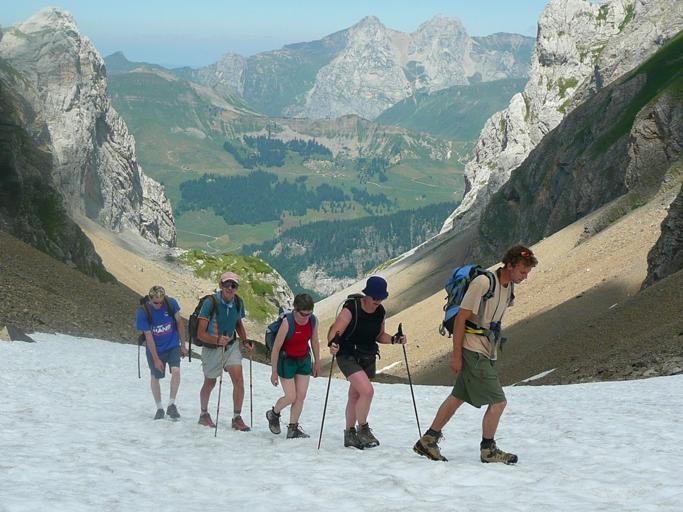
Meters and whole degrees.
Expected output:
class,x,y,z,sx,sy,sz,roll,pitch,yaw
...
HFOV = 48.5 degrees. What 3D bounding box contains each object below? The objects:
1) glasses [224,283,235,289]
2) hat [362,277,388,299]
class,x,y,z,sx,sy,sz,roll,pitch,yaw
glasses,-3.281,0.853,22.280,0.333,0.185,0.132,-2,11,-8
hat,0.909,0.826,20.738,0.645,0.339,0.655,6,30,-22
